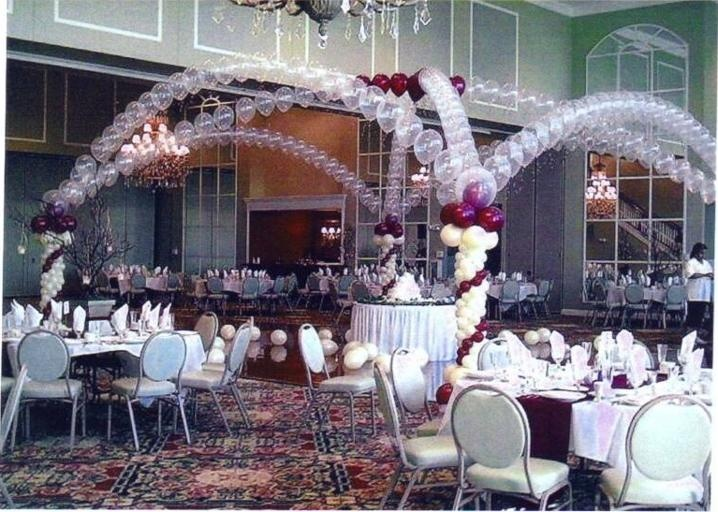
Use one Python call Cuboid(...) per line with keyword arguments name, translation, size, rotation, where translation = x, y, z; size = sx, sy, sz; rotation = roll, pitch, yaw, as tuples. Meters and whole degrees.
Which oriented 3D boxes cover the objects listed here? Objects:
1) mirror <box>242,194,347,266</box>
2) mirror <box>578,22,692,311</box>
Cuboid(name="mirror", translation=(-2.050, 0.085, 20.297), size=(3.295, 2.638, 1.847), rotation=(2, 0, -24))
Cuboid(name="mirror", translation=(6.237, -2.105, 14.228), size=(2.007, 6.915, 0.404), rotation=(1, 3, 26))
